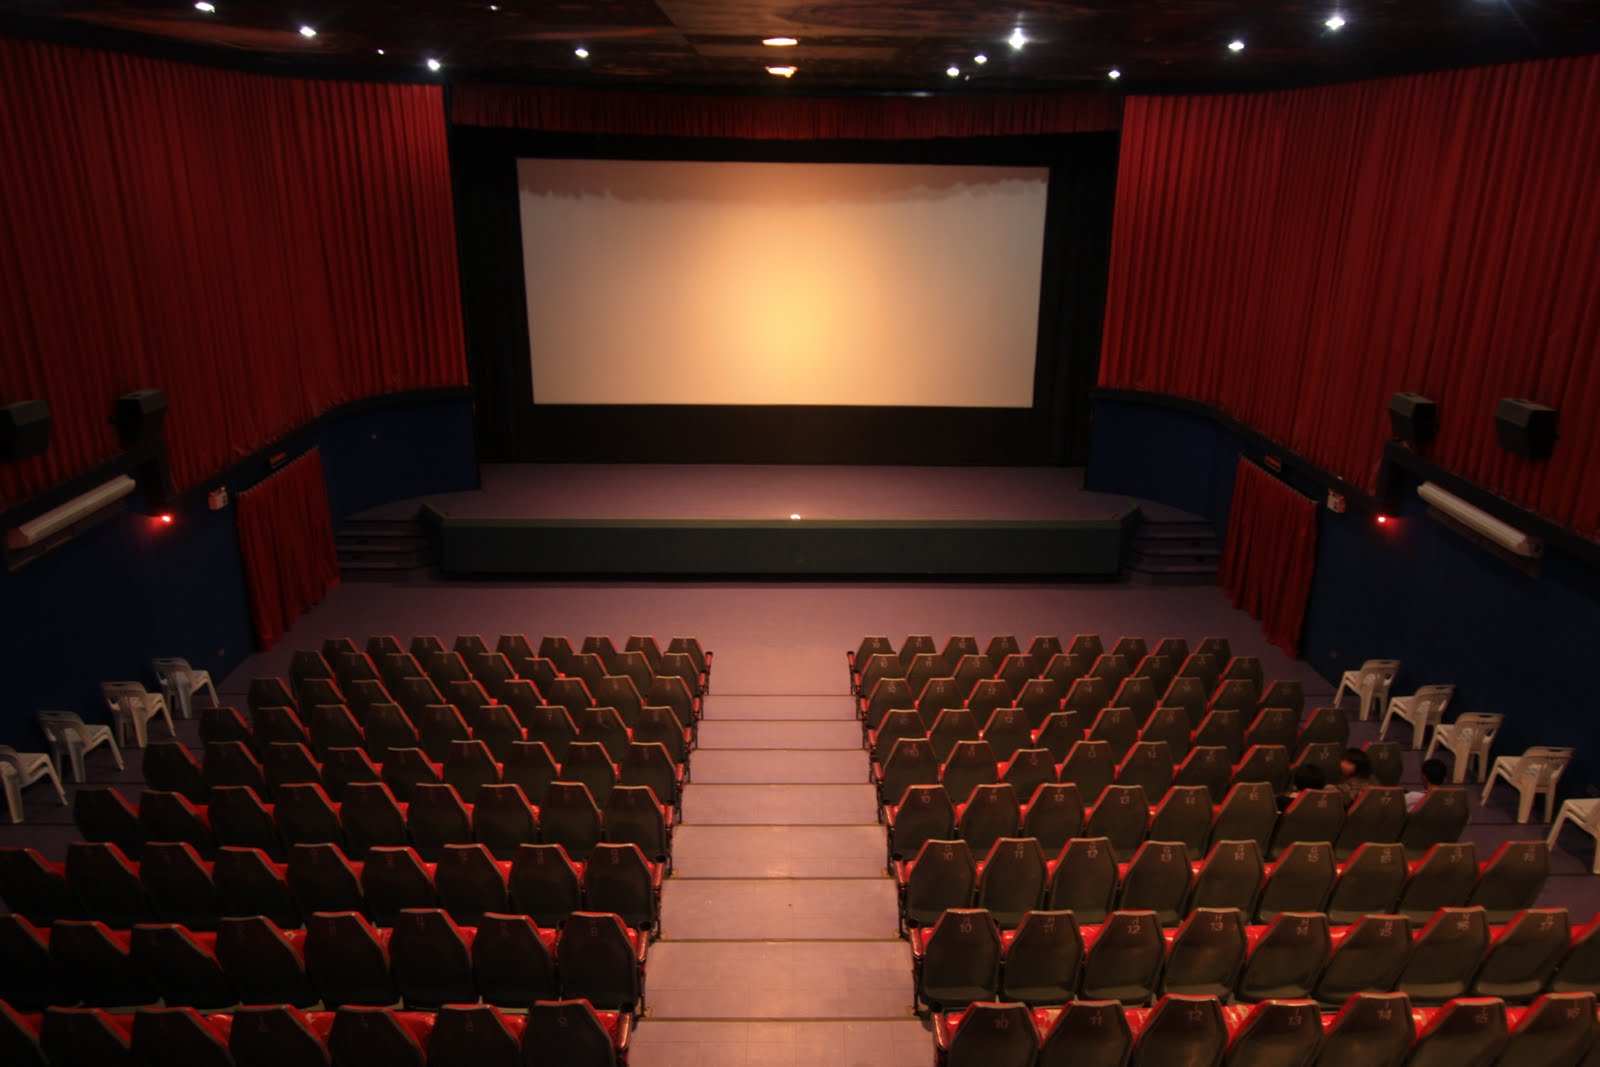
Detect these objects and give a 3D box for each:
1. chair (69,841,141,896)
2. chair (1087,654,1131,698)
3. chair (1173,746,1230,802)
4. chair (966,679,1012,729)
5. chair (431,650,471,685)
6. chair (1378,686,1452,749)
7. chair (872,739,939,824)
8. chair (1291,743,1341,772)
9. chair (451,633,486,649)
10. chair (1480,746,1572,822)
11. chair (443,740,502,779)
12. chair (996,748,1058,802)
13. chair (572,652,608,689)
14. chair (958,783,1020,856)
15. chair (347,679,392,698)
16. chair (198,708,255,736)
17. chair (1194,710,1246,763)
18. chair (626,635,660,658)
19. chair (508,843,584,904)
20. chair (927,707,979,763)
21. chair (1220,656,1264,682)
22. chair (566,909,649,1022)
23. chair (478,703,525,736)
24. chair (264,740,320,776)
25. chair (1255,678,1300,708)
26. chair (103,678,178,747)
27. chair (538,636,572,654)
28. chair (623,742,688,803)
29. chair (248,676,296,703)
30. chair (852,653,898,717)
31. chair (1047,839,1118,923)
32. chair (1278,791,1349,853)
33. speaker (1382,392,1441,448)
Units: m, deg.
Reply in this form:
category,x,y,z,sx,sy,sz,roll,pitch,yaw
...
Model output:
category,x,y,z,sx,sy,sz,roll,pitch,yaw
chair,-5.249,2.481,8.947,0.413,0.411,0.413,5,19,-2
chair,3.263,1.497,12.215,0.383,0.602,0.435,1,31,6
chair,3.545,2.067,10.287,0.381,0.525,0.494,1,20,6
chair,1.852,1.676,11.648,0.375,0.548,0.415,-1,17,-3
chair,-3.643,1.387,12.234,0.378,0.272,0.419,-9,18,-29
chair,6.371,1.911,12.024,0.460,0.631,0.458,-3,32,2
chair,0.927,2.103,10.089,0.534,0.740,0.579,0,26,0
chair,4.618,2.000,10.397,0.212,0.285,0.235,3,21,10
chair,-3.599,1.198,12.684,0.232,0.140,0.230,-4,10,-31
chair,6.880,2.293,10.946,0.521,0.728,0.576,1,9,-9
chair,-2.820,1.939,10.229,0.330,0.462,0.396,2,17,3
chair,1.973,2.041,10.239,0.451,0.578,0.444,-1,27,3
chair,-2.212,1.411,12.194,0.330,0.457,0.336,3,20,1
chair,1.535,2.309,9.470,0.482,0.639,0.524,0,21,0
chair,-4.259,1.555,11.541,0.393,0.201,0.178,-5,16,-18
chair,-5.356,1.782,10.879,0.458,0.365,0.166,-2,16,-6
chair,3.938,1.833,10.962,0.416,0.598,0.487,2,31,9
chair,-1.736,1.272,12.933,0.248,0.240,0.250,0,17,-3
chair,-1.922,2.587,8.753,0.417,0.596,0.493,2,21,-1
chair,1.377,1.840,10.980,0.417,0.628,0.471,-1,20,-4
chair,4.684,1.466,12.333,0.351,0.240,0.264,2,15,12
chair,-1.405,3.001,8.204,0.626,0.817,0.672,2,20,1
chair,-2.804,1.752,11.031,0.279,0.153,0.380,1,5,-5
chair,-4.400,1.951,10.105,0.369,0.323,0.318,3,13,-2
chair,4.779,1.644,11.562,0.371,0.282,0.468,4,16,15
chair,-6.791,1.804,11.951,0.422,0.727,0.531,0,11,6
chair,-2.694,1.231,12.880,0.322,0.177,0.354,-3,16,-10
chair,-1.276,2.054,10.130,0.426,0.620,0.561,2,24,4
chair,-5.228,1.531,11.590,0.293,0.379,0.312,4,36,-10
chair,0.801,1.587,12.437,0.517,0.716,0.542,2,24,0
chair,2.145,2.586,8.761,0.578,0.613,0.720,5,64,9
chair,4.187,2.306,9.681,0.427,0.617,0.493,0,20,6
speaker,6.419,-1.193,12.201,0.321,0.606,0.441,-6,21,-9
